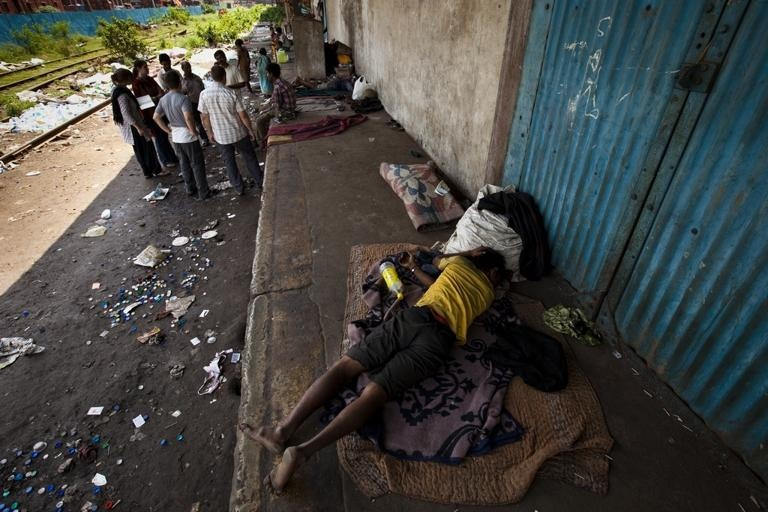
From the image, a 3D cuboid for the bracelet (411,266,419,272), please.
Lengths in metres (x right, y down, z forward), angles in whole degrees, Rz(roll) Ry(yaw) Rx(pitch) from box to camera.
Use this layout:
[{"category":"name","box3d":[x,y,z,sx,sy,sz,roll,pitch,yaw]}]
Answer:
[{"category":"bracelet","box3d":[0.345,0.154,4.174,0.067,0.043,0.067,4,-4,-9]}]

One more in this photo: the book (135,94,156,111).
[{"category":"book","box3d":[-4.510,-2.904,7.198,0.348,0.080,0.344,-2,74,-3]}]

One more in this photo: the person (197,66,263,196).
[{"category":"person","box3d":[-2.618,-2.020,6.671,0.526,1.895,0.713,17,41,28]}]

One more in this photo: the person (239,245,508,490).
[{"category":"person","box3d":[0.179,0.834,3.713,1.058,0.721,3.060,24,49,38]}]

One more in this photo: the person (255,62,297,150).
[{"category":"person","box3d":[-2.487,-3.399,8.588,0.937,1.752,0.808,6,21,5]}]
